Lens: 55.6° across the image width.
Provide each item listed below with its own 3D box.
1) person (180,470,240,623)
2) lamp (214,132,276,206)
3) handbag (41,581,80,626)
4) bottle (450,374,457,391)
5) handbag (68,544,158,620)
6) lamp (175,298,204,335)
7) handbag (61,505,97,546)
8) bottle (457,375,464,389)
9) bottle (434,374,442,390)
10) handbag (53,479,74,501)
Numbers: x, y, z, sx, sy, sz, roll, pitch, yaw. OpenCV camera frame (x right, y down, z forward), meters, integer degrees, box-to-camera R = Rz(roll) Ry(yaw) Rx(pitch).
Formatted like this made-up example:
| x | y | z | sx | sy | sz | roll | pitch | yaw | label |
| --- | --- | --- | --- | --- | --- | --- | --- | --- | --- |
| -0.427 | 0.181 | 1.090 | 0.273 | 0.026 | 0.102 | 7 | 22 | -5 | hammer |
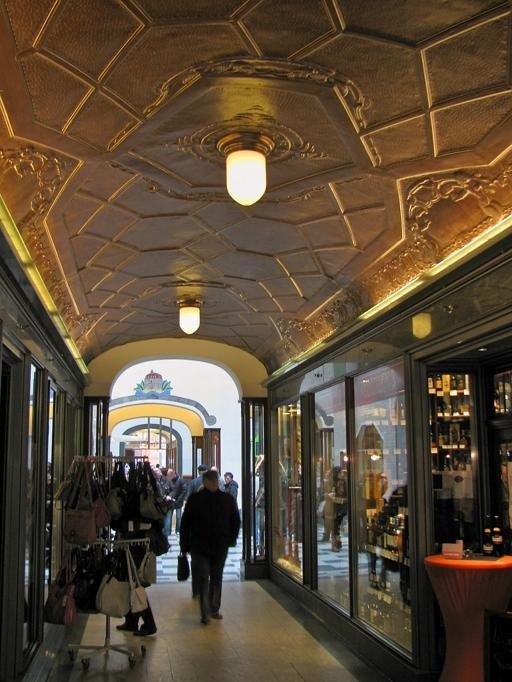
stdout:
| x | y | z | sx | sy | sz | roll | pitch | yaw | label |
| --- | --- | --- | --- | --- | --- | --- | --- | --- | --- |
| -0.524 | 2.299 | 5.541 | 0.678 | 1.575 | 0.549 | 4 | -13 | -15 | person |
| -0.080 | -0.884 | 2.693 | 0.398 | 0.412 | 0.380 | 1 | -8 | -8 | lamp |
| -1.628 | 2.165 | 4.020 | 0.247 | 0.308 | 0.228 | 2 | -13 | -8 | handbag |
| 1.574 | 0.331 | 3.885 | 0.061 | 0.120 | 0.030 | 9 | -15 | -32 | bottle |
| -1.302 | 2.147 | 4.417 | 0.737 | 0.610 | 0.490 | 3 | -13 | -10 | handbag |
| -1.015 | -0.340 | 6.739 | 0.438 | 0.643 | 0.433 | 2 | -9 | -11 | lamp |
| -1.541 | 1.616 | 4.223 | 0.316 | 0.318 | 0.187 | -5 | -14 | 23 | handbag |
| 1.648 | 0.325 | 3.916 | 0.082 | 0.106 | 0.034 | 11 | -17 | -39 | bottle |
| 1.417 | 0.327 | 3.812 | 0.079 | 0.114 | 0.023 | 10 | -16 | -35 | bottle |
| -1.788 | 1.377 | 4.507 | 0.131 | 0.193 | 0.328 | 6 | -14 | -22 | handbag |
